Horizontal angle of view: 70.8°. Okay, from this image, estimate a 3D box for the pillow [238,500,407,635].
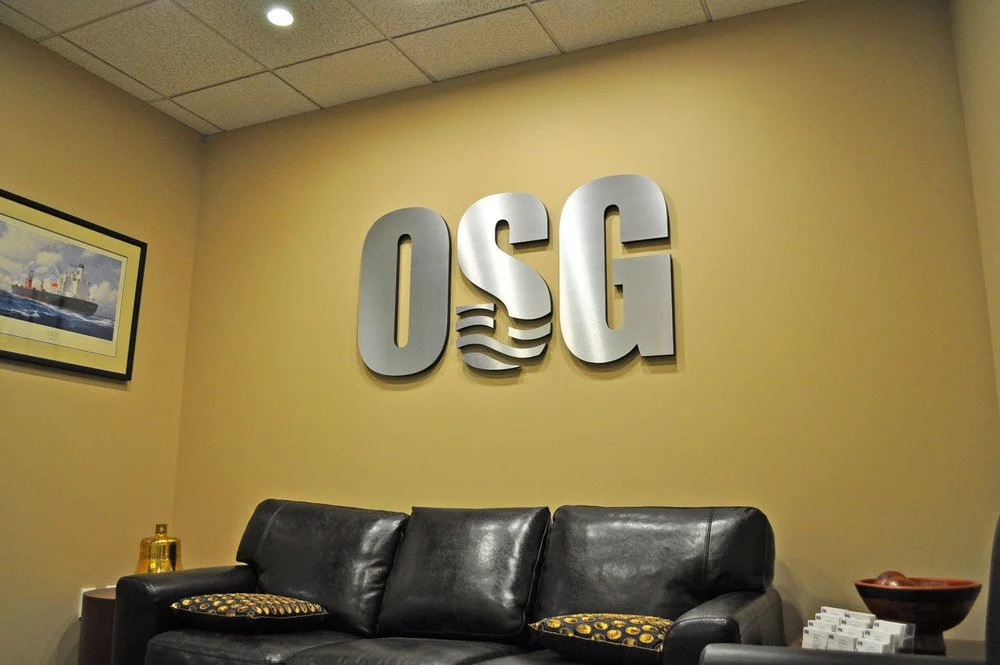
[{"bbox_3d":[-0.950,1.254,3.789,0.785,0.606,0.217,7,-19,26],"label":"pillow"}]

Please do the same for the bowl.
[{"bbox_3d":[1.716,1.107,2.882,0.350,0.205,0.341,1,-14,0],"label":"bowl"}]

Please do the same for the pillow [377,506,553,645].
[{"bbox_3d":[-0.173,1.169,3.479,0.742,0.667,0.207,-1,-26,27],"label":"pillow"}]

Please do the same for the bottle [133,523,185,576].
[{"bbox_3d":[-1.980,1.262,4.120,0.321,0.343,0.306,4,-10,-32],"label":"bottle"}]
